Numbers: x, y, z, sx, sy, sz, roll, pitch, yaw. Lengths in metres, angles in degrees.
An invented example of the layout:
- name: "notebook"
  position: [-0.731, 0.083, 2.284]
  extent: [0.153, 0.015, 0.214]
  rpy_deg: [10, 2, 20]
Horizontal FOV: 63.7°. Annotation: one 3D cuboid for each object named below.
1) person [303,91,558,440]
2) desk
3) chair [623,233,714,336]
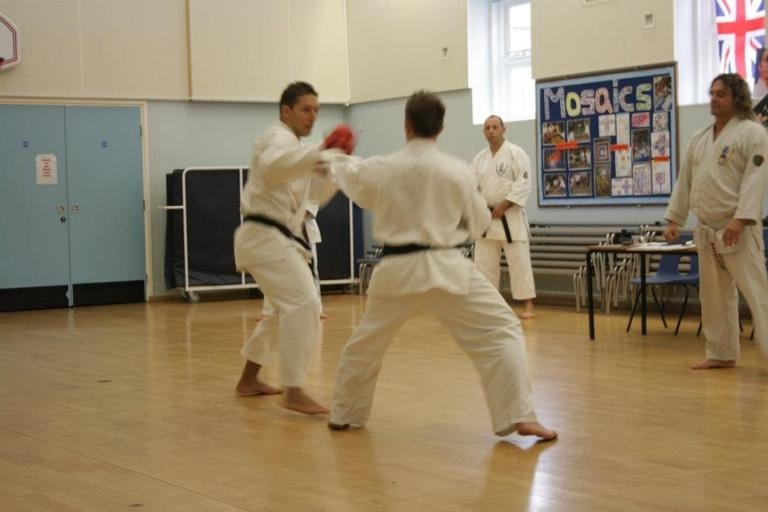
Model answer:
- name: "person"
  position: [0.274, 0.055, 3.581]
  extent: [1.244, 2.033, 0.343]
  rpy_deg: [1, 6, 21]
- name: "desk"
  position: [2.422, 0.307, 5.872]
  extent: [1.035, 0.807, 0.904]
  rpy_deg: [-1, 2, 23]
- name: "chair"
  position: [2.859, 0.258, 6.250]
  extent: [0.684, 1.025, 0.737]
  rpy_deg: [1, 4, 39]
